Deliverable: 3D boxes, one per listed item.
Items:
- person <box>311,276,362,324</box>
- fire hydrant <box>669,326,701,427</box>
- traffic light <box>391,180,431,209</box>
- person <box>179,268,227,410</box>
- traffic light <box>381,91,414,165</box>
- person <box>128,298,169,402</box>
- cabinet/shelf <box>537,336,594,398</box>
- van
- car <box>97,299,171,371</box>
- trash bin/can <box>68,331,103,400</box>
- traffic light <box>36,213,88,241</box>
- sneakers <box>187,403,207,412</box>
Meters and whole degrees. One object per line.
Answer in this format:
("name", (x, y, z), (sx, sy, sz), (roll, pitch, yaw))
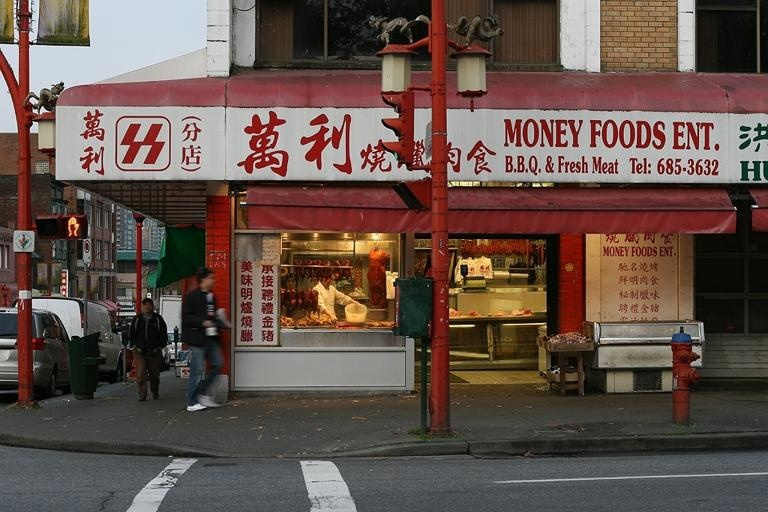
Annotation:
("person", (-1.195, 0.860, 30.016), (0.663, 1.126, 1.267), (0, -2, -17))
("fire hydrant", (5.537, 2.274, 26.289), (0.611, 1.505, 0.469), (-2, -1, -15))
("traffic light", (0.523, -1.109, 25.584), (0.596, 0.570, 0.378), (0, -1, -31))
("person", (-3.551, 1.644, 27.775), (0.850, 2.791, 0.466), (0, -1, -7))
("traffic light", (0.256, -2.296, 25.563), (0.539, 1.363, 0.353), (0, -1, 3))
("person", (-5.016, 1.961, 29.770), (0.870, 2.016, 0.982), (7, -11, -29))
("cabinet/shelf", (3.877, 2.274, 29.854), (0.954, 1.034, 1.704), (-1, 4, 1))
("van", (-7.356, 2.008, 32.678), (2.636, 2.312, 5.238), (2, -4, -9))
("car", (-6.598, 2.210, 36.582), (2.201, 1.724, 3.169), (0, 12, -2))
("trash bin/can", (-6.370, 2.352, 30.083), (0.651, 1.323, 0.907), (0, -6, 2))
("traffic light", (-6.750, -0.618, 29.321), (0.597, 0.486, 1.407), (-1, 0, 24))
("sneakers", (-3.677, 2.981, 27.747), (0.357, 0.131, 0.134), (-6, -6, 10))
